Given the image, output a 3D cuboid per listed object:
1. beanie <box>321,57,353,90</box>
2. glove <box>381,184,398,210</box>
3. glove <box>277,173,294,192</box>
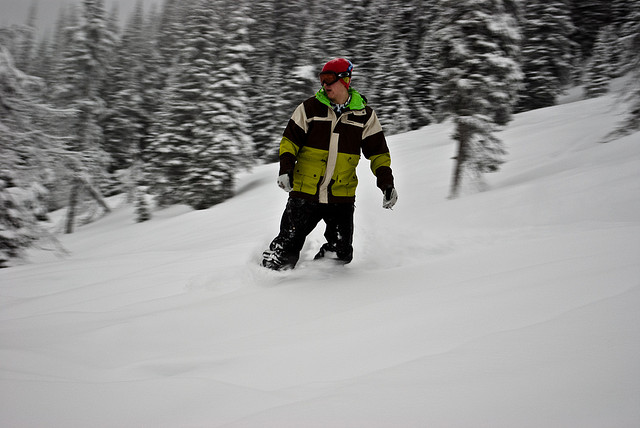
[{"bbox_3d":[0.301,-2.821,12.571,0.563,0.607,0.355,1,15,6],"label":"beanie"},{"bbox_3d":[1.383,-0.345,12.637,0.263,0.484,0.243,4,-16,-27],"label":"glove"},{"bbox_3d":[-0.688,-0.638,12.522,0.290,0.395,0.398,0,14,0],"label":"glove"}]
